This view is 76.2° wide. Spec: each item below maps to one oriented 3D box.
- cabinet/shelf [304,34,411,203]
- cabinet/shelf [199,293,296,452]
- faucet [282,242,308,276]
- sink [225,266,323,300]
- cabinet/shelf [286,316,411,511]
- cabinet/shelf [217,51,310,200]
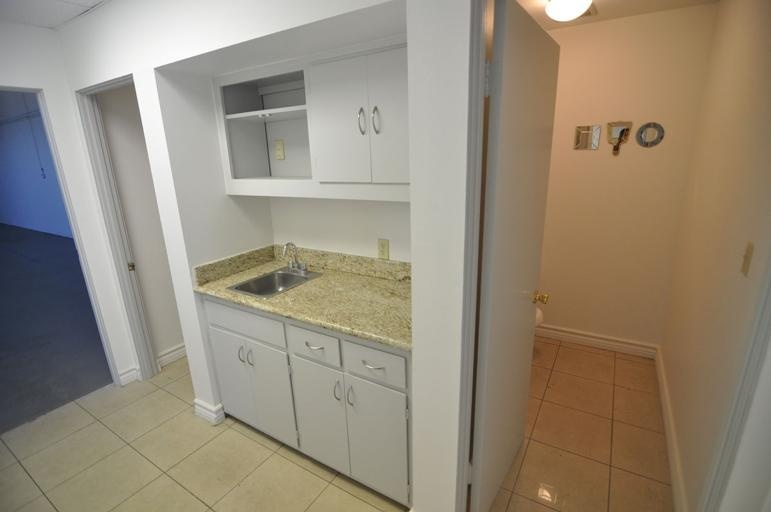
[{"bbox_3d":[-0.049,-0.954,3.539,0.989,0.908,0.483,2,9,25],"label":"cabinet/shelf"},{"bbox_3d":[-0.877,0.787,3.986,0.869,1.143,0.645,13,25,34],"label":"cabinet/shelf"},{"bbox_3d":[-0.754,0.023,4.131,0.201,0.284,0.181,9,26,25],"label":"faucet"},{"bbox_3d":[-0.938,0.230,3.959,0.309,0.151,0.391,11,24,30],"label":"sink"},{"bbox_3d":[-0.227,1.051,3.354,1.175,1.108,0.646,7,13,32],"label":"cabinet/shelf"},{"bbox_3d":[-0.833,-0.947,3.821,0.948,0.878,0.330,3,15,27],"label":"cabinet/shelf"}]
